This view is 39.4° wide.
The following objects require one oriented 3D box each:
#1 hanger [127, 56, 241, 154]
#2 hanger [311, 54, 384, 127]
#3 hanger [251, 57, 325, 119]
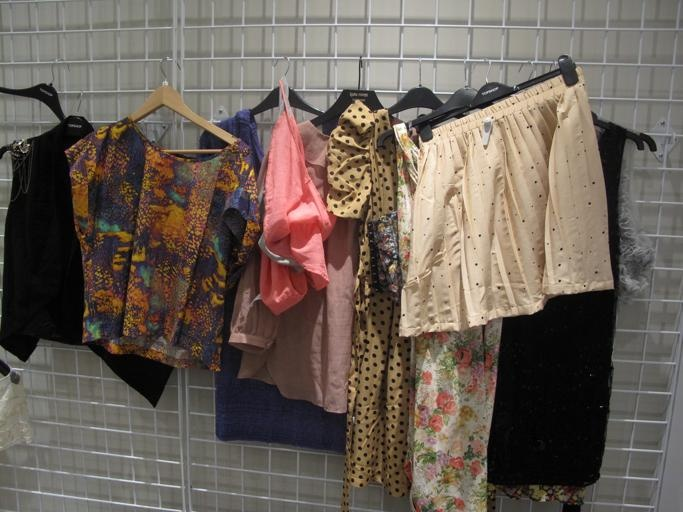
[{"bbox_3d":[-0.566,-0.559,3.569,0.332,0.253,0.018,1,7,2],"label":"hanger"},{"bbox_3d":[0.032,-0.607,3.494,0.252,0.253,0.021,2,-14,5],"label":"hanger"},{"bbox_3d":[-0.200,-0.606,3.463,0.321,0.230,0.008,4,-10,-16],"label":"hanger"}]
